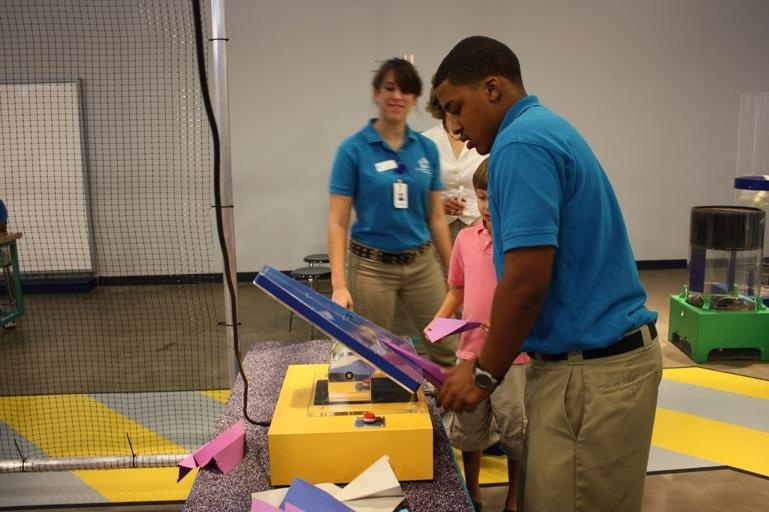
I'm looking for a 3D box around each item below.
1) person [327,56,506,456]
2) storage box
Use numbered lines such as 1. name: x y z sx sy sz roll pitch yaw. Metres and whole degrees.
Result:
1. person: 0.217 0.112 3.759 1.012 2.639 0.779 0 16 10
2. storage box: -0.095 0.759 2.931 0.892 0.295 0.834 -2 18 -11
